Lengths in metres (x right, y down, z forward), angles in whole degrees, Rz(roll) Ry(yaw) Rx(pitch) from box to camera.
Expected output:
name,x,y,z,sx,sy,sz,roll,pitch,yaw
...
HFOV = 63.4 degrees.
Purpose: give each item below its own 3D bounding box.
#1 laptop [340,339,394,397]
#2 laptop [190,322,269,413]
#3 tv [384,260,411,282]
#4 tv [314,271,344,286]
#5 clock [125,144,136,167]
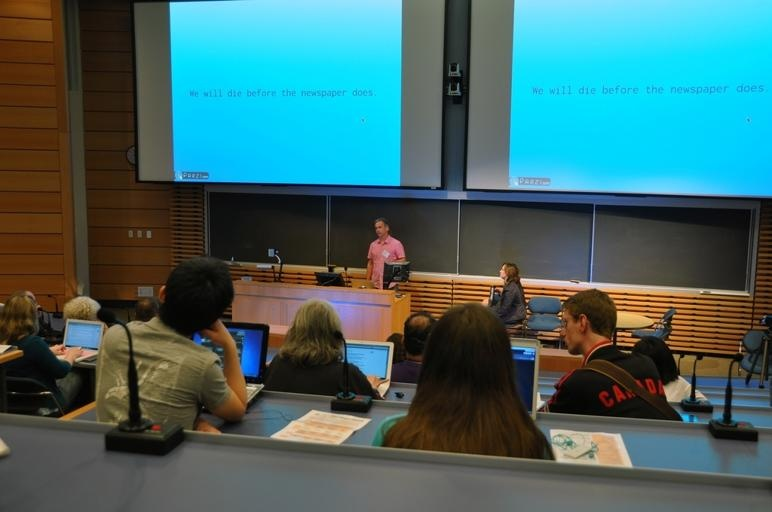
name,x,y,z,sx,sy,sz,roll,pitch,yaw
laptop,-0.148,0.815,4.779,0.419,0.304,0.367,0,-1,14
laptop,-1.153,0.790,4.623,0.604,0.556,0.489,1,-3,5
tv,0.149,0.191,8.491,0.395,0.364,0.229,-1,3,-10
tv,-0.706,0.310,8.647,0.296,0.212,0.071,5,16,28
clock,-4.435,-1.757,10.883,0.264,0.350,0.079,8,9,43
